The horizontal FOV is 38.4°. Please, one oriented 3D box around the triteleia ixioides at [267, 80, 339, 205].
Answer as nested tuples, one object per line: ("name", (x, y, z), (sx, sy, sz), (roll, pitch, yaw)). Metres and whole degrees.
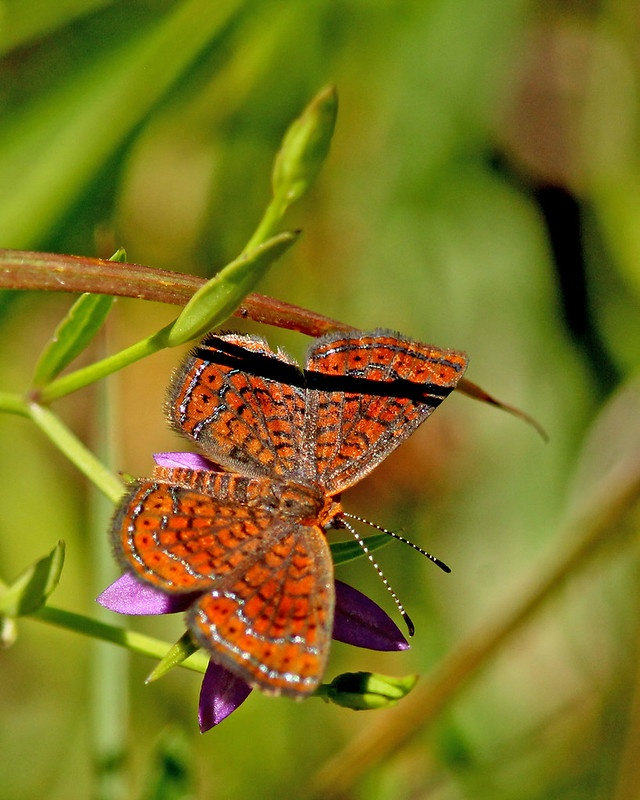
("triteleia ixioides", (-0.026, -0.336, 1.224), (0.066, 0.132, 0.137), (24, 59, 15))
